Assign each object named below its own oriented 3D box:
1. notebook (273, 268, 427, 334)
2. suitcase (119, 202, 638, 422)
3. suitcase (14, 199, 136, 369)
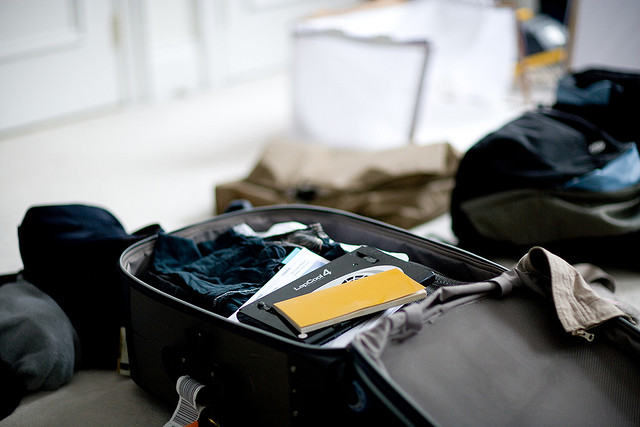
[{"bbox_3d":[0.057,0.166,1.163,0.292,0.029,0.158,-12,25,-26],"label":"notebook"},{"bbox_3d":[0.004,0.075,1.104,0.734,0.234,0.565,16,23,40],"label":"suitcase"},{"bbox_3d":[-0.607,0.181,1.444,0.241,0.374,0.306,-15,27,-33],"label":"suitcase"}]
